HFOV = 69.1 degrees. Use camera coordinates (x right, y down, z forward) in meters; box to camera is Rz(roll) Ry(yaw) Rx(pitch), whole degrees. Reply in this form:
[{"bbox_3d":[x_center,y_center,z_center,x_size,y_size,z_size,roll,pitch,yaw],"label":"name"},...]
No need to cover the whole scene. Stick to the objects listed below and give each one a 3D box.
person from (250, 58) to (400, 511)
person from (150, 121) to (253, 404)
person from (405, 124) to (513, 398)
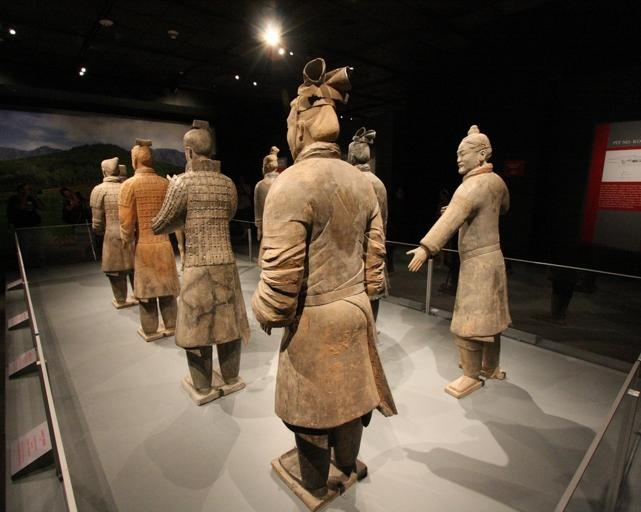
[{"bbox_3d":[0.004,0.691,3.638,1.096,2.834,0.495,1,10,-11],"label":"person"},{"bbox_3d":[-1.176,0.113,4.753,0.879,2.865,0.555,0,10,-19],"label":"person"},{"bbox_3d":[1.583,0.103,4.807,1.227,2.806,0.641,-4,12,-35],"label":"person"}]
